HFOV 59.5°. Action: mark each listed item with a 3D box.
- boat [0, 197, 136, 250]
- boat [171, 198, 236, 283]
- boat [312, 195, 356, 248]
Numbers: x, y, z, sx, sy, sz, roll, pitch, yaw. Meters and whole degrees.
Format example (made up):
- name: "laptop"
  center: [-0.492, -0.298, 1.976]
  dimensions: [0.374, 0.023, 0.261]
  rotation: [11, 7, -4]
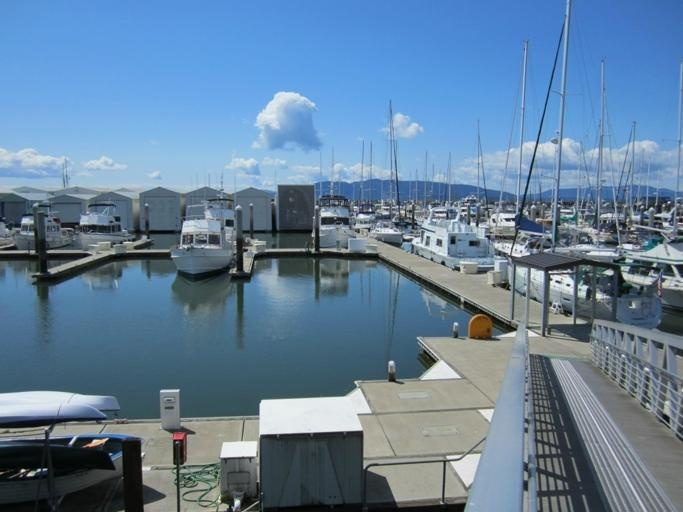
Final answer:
- name: "boat"
  center: [-22.690, -2.698, 50.314]
  dimensions: [3.778, 4.453, 10.803]
  rotation: [7, 10, 33]
- name: "boat"
  center: [-7.668, -1.173, 36.342]
  dimensions: [2.306, 4.625, 9.448]
  rotation: [3, 16, -7]
- name: "boat"
  center: [-0.489, -2.646, 47.476]
  dimensions: [2.602, 3.409, 7.426]
  rotation: [-6, 10, 0]
